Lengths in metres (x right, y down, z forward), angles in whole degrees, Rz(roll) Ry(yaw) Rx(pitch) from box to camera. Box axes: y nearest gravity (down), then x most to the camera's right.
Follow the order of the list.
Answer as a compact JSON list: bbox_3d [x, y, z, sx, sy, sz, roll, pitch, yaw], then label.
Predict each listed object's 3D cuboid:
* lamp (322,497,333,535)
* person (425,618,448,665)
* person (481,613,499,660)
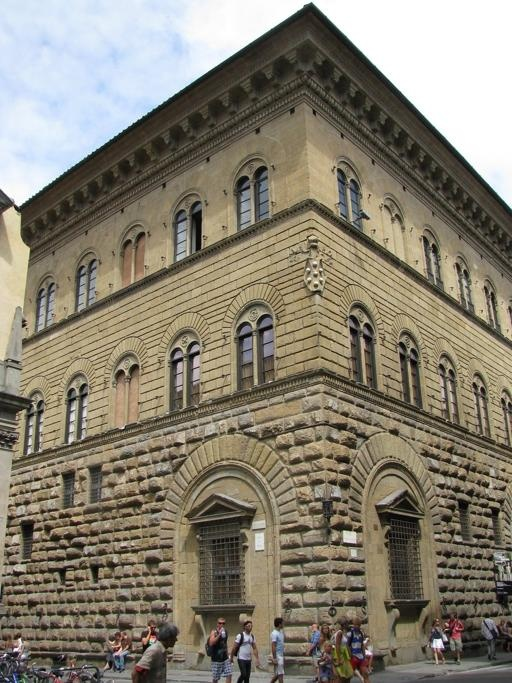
[{"bbox_3d":[1.474,3.599,14.215,0.214,0.681,0.302,-3,-26,6],"label":"lamp"},{"bbox_3d":[4.348,7.193,16.543,0.411,0.996,1.369,-6,-26,12],"label":"person"},{"bbox_3d":[6.325,7.925,18.611,0.479,1.292,2.862,-8,-27,15],"label":"person"}]
